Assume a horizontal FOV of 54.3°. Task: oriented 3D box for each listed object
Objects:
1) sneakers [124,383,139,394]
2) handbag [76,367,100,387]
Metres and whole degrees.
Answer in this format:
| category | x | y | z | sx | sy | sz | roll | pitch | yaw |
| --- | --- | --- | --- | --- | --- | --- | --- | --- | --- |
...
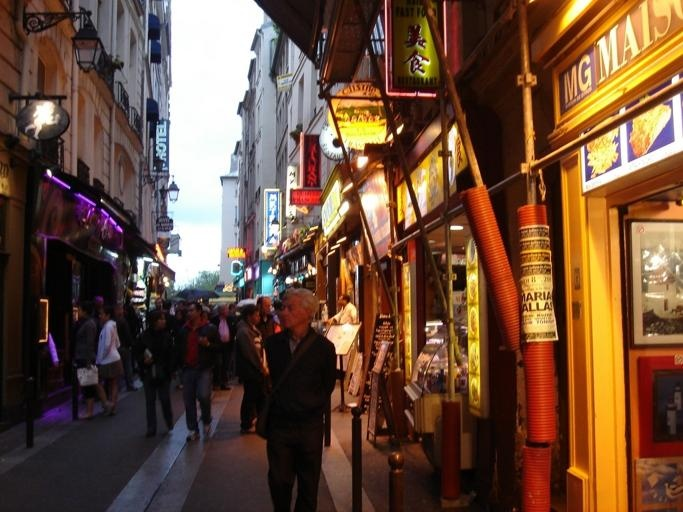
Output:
| category | x | y | z | sx | sy | sz | roll | pitch | yaw |
| --- | --- | --- | --- | --- | --- | --- | --- | --- | --- |
| sneakers | -5.281 | 3.291 | 16.655 | 0.341 | 0.290 | 0.212 | -3 | 4 | -14 |
| handbag | -4.952 | 2.316 | 12.866 | 0.381 | 0.443 | 0.157 | 1 | -5 | -26 |
